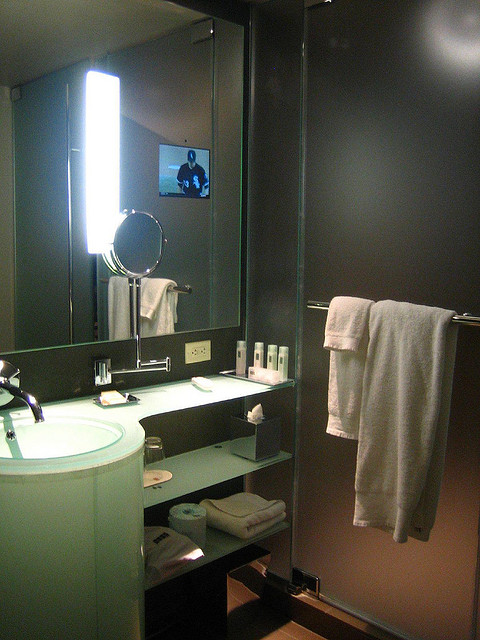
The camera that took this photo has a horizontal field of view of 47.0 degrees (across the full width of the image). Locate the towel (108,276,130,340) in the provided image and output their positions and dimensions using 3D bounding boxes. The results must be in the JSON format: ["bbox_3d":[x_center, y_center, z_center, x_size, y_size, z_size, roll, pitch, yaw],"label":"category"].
[{"bbox_3d":[-0.389,-0.039,1.764,0.019,0.199,0.085,4,7,34],"label":"towel"}]

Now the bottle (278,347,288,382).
[{"bbox_3d":[0.152,0.156,1.967,0.033,0.119,0.039,-1,6,-2],"label":"bottle"}]

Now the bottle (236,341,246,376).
[{"bbox_3d":[0.002,0.141,2.039,0.029,0.127,0.036,-1,6,-9],"label":"bottle"}]

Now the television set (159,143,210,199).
[{"bbox_3d":[-0.194,-0.521,1.953,0.019,0.179,0.245,4,8,38],"label":"television set"}]
